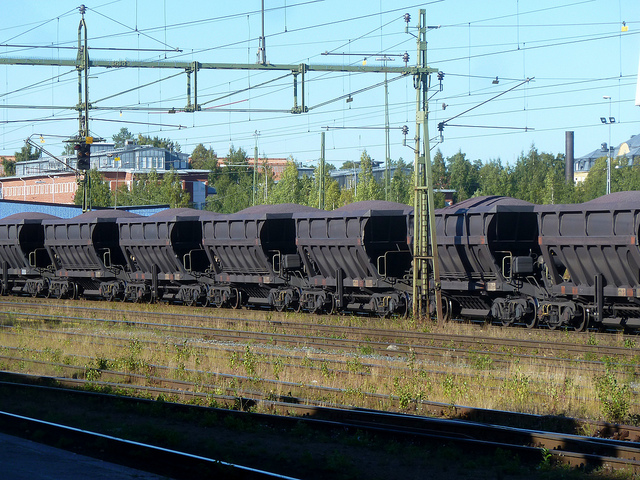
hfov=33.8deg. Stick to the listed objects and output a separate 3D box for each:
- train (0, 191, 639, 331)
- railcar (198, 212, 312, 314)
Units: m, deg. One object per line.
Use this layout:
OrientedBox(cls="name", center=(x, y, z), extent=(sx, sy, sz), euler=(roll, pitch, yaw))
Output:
OrientedBox(cls="train", center=(-0.518, 1.072, 40.453), extent=(27.621, 3.612, 5.110), euler=(2, 0, 40))
OrientedBox(cls="railcar", center=(-2.432, 0.834, 43.538), extent=(4.792, 4.067, 3.231), euler=(-3, 4, 44))
